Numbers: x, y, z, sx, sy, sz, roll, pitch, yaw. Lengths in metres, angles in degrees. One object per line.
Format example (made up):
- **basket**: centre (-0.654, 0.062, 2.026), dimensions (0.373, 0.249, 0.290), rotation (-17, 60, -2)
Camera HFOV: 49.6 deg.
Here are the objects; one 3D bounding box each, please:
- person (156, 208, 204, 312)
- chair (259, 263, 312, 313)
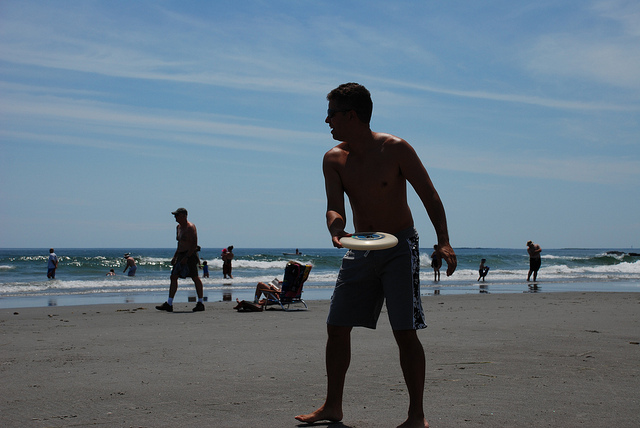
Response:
- **person**: centre (-2.762, 0.947, 13.972), dimensions (0.815, 1.691, 1.174), rotation (-2, 0, -11)
- **chair**: centre (-0.709, 1.608, 15.175), dimensions (1.127, 1.006, 0.838), rotation (-4, -9, 33)
